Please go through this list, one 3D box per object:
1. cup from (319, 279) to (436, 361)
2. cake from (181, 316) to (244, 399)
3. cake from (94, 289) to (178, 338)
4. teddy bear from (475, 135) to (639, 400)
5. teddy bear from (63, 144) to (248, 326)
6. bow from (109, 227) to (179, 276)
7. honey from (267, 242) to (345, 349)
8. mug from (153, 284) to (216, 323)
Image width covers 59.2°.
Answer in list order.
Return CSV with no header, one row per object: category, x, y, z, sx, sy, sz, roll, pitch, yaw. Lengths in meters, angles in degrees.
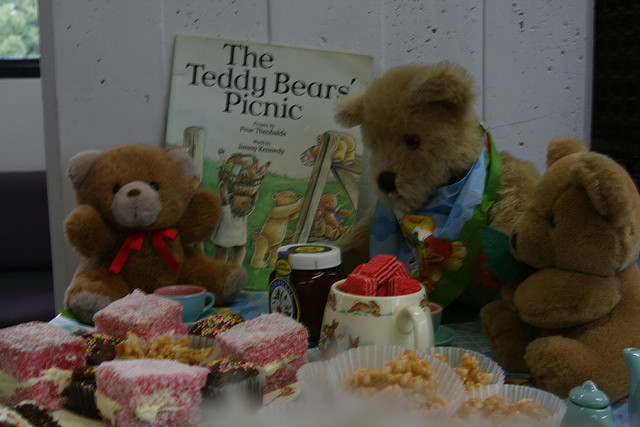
cup,0.092,0.145,0.808,0.100,0.074,0.128,4,-3,-34
cake,-0.155,0.200,0.820,0.082,0.027,0.082,-5,12,-10
cake,-0.285,0.175,0.942,0.154,0.063,0.161,-3,-7,0
teddy bear,0.290,0.048,0.995,0.307,0.447,0.326,-2,5,-2
teddy bear,-0.342,0.035,1.094,0.335,0.319,0.247,-7,14,-34
bow,-0.338,0.070,1.061,0.095,0.072,0.014,1,-7,-25
honey,-0.023,0.132,0.972,0.110,0.162,0.122,13,18,43
mug,-0.244,0.161,1.048,0.082,0.056,0.103,13,15,42
